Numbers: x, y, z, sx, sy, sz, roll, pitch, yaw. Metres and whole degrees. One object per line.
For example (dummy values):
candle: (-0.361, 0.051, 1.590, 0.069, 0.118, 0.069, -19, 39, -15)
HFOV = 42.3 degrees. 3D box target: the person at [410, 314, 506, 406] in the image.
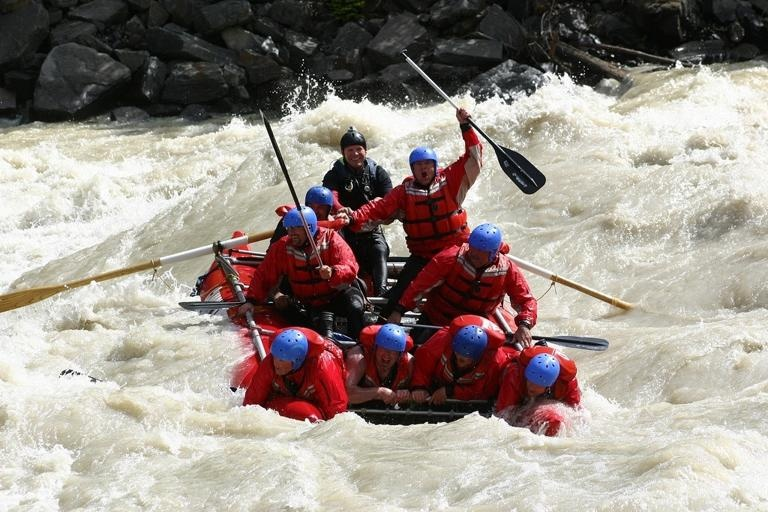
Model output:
person: (0.961, 1.406, 12.863, 0.893, 1.291, 0.602, 38, 79, 4)

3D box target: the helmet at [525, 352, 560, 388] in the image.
helmet: (1.934, 1.402, 12.137, 0.315, 0.359, 0.435, 26, 7, 5)

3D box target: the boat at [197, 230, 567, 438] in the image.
boat: (0.162, 1.472, 12.522, 3.696, 0.634, 2.297, 0, 43, 0)

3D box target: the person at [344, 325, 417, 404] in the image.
person: (-0.026, 1.310, 12.637, 0.766, 0.858, 1.022, 5, 57, -12)

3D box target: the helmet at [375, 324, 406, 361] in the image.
helmet: (0.082, 1.099, 12.569, 0.291, 0.390, 0.352, 16, 74, -2)

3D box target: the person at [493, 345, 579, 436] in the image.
person: (1.888, 1.677, 12.231, 0.845, 1.123, 0.545, 34, 9, 19)

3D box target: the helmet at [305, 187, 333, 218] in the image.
helmet: (-0.880, -0.760, 14.025, 0.341, 0.436, 0.447, 4, 3, 2)

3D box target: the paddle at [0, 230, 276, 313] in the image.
paddle: (-3.731, 0.288, 15.472, 4.252, 0.479, 0.226, -13, 23, -12)

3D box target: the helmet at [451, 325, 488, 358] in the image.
helmet: (1.075, 1.096, 12.455, 0.322, 0.357, 0.440, 21, 58, -13)

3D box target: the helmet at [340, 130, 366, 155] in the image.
helmet: (-0.462, -1.689, 14.556, 0.268, 0.365, 0.274, -8, 70, -6)

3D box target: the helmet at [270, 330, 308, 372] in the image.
helmet: (-1.101, 1.145, 12.267, 0.374, 0.500, 0.467, 25, 73, 13)

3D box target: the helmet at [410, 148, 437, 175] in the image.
helmet: (0.565, -1.357, 13.861, 0.346, 0.325, 0.383, 2, 32, 8)
